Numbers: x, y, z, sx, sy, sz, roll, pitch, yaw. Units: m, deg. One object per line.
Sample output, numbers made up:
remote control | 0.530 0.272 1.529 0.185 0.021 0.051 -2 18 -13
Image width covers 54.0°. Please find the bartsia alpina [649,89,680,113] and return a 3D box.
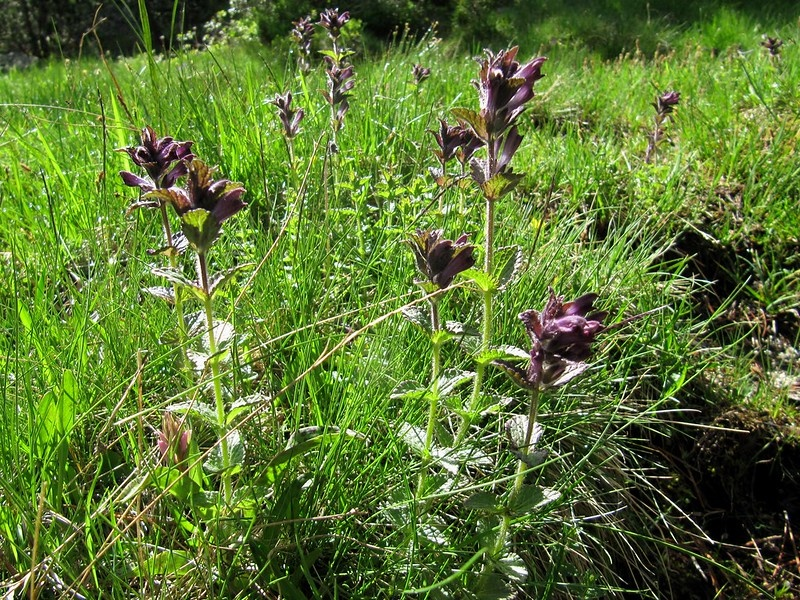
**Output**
bartsia alpina | 1.474 -1.074 4.310 0.130 0.079 0.142 6 -4 4

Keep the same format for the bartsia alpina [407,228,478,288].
bartsia alpina | 0.146 -0.146 2.671 0.184 0.188 0.198 8 -8 14

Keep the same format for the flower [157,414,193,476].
flower | -0.771 0.489 2.697 0.096 0.246 0.109 1 14 -46

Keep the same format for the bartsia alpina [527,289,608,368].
bartsia alpina | 0.554 0.097 2.581 0.227 0.238 0.140 -1 -34 17
